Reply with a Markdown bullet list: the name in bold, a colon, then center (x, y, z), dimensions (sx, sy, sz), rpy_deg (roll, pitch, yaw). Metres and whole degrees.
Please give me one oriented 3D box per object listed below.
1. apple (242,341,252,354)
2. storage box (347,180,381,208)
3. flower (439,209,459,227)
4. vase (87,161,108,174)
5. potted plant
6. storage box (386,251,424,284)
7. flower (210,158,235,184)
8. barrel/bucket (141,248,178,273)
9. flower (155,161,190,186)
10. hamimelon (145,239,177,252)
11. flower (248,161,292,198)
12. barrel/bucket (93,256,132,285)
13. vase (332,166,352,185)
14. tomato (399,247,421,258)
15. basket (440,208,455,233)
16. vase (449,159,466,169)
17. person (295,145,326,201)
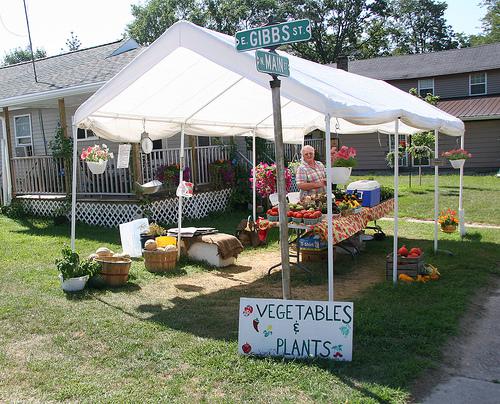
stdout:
- **apple**: center (-0.030, 1.616, 5.368), dimensions (0.104, 0.104, 0.050), rpy_deg (9, 1, 5)
- **storage box**: center (2.212, -0.215, 9.360), dimensions (0.513, 0.454, 0.720), rpy_deg (3, 6, 36)
- **flower**: center (4.644, 0.371, 11.159), dimensions (0.458, 0.423, 0.458), rpy_deg (-1, 3, 5)
- **vase**: center (-3.121, -0.723, 9.978), dimensions (0.342, 0.208, 0.343), rpy_deg (-1, -3, 10)
- **potted plant**: center (-2.644, 0.998, 7.284), dimensions (0.512, 0.573, 0.708), rpy_deg (16, 3, 29)
- **storage box**: center (2.522, 1.039, 7.823), dimensions (0.591, 0.291, 0.574), rpy_deg (2, -4, -45)
- **flower**: center (-0.878, -0.923, 14.694), dimensions (0.729, 0.757, 0.755), rpy_deg (-18, -17, 21)
- **barrel/bucket**: center (-1.558, 0.980, 8.318), dimensions (0.422, 0.255, 0.433), rpy_deg (-1, -3, 0)
- **flower**: center (-2.058, -0.750, 12.943), dimensions (0.567, 0.605, 1.159), rpy_deg (0, 3, 12)
- **hamimelon**: center (-1.582, 0.774, 8.402), dimensions (0.294, 0.214, 0.291), rpy_deg (1, -2, -1)
- **flower**: center (0.502, -0.439, 11.880), dimensions (1.103, 1.085, 0.965), rpy_deg (4, 13, 21)
- **barrel/bucket**: center (-2.118, 1.113, 7.678), dimensions (0.546, 0.359, 0.563), rpy_deg (2, -2, 0)
- **vase**: center (1.673, -0.496, 8.775), dimensions (0.358, 0.229, 0.356), rpy_deg (0, -3, 0)
- **tomato**: center (2.580, 0.821, 7.861), dimensions (0.371, 0.183, 0.286), rpy_deg (-2, -3, 30)
- **basket**: center (4.580, 0.425, 11.166), dimensions (0.488, 0.538, 0.487), rpy_deg (1, 1, 11)
- **vase**: center (4.480, -0.827, 10.367), dimensions (0.332, 0.186, 0.407), rpy_deg (-1, -5, 19)
- **person**: center (1.053, -0.507, 8.286), dimensions (0.516, 0.964, 1.002), rpy_deg (0, 3, 8)
